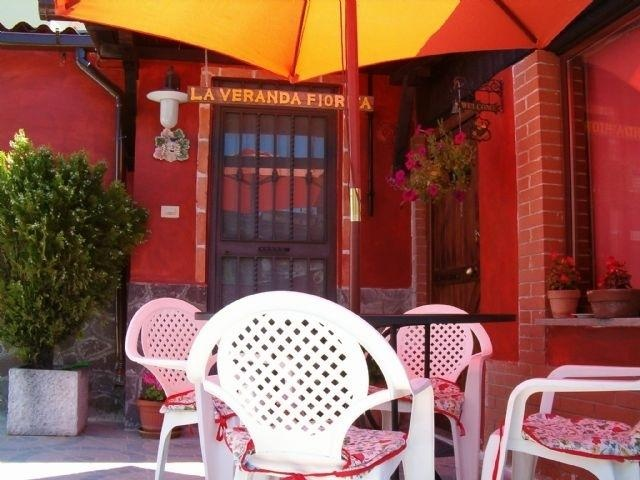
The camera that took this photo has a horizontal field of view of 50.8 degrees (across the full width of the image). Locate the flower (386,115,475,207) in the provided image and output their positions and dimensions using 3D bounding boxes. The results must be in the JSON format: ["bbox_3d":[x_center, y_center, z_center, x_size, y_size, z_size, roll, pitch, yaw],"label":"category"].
[{"bbox_3d":[1.039,-0.824,5.943,0.771,0.633,0.671,2,-9,-38],"label":"flower"}]

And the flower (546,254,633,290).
[{"bbox_3d":[1.890,0.214,4.680,0.359,0.289,0.705,2,-8,-26],"label":"flower"}]
